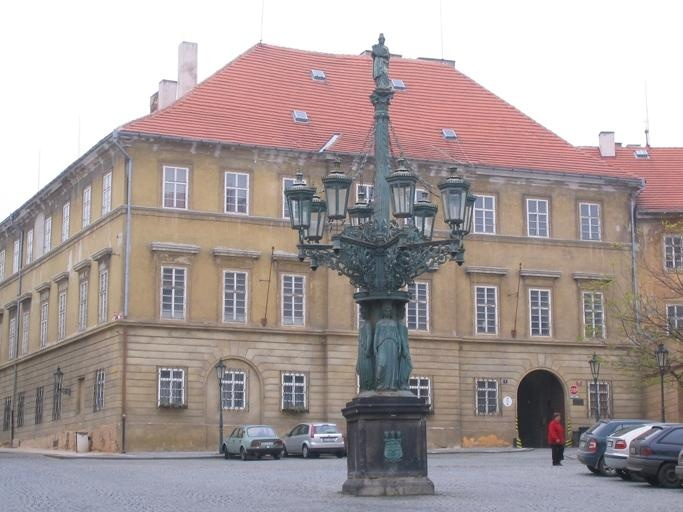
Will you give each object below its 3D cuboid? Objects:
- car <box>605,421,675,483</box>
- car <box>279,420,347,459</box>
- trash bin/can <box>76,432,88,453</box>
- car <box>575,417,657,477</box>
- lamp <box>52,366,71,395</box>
[{"bbox_3d":[8.615,5.955,36.713,2.404,1.159,1.213,-1,-5,-16],"label":"car"},{"bbox_3d":[-1.283,8.016,52.658,1.487,1.052,2.505,3,-4,-22],"label":"car"},{"bbox_3d":[-11.983,8.585,55.160,0.727,1.152,0.749,1,-11,-14],"label":"trash bin/can"},{"bbox_3d":[9.201,6.159,39.260,2.695,1.232,1.365,-1,-4,-14],"label":"car"},{"bbox_3d":[-13.942,6.168,59.305,0.762,1.611,2.160,4,-14,-22],"label":"lamp"}]
